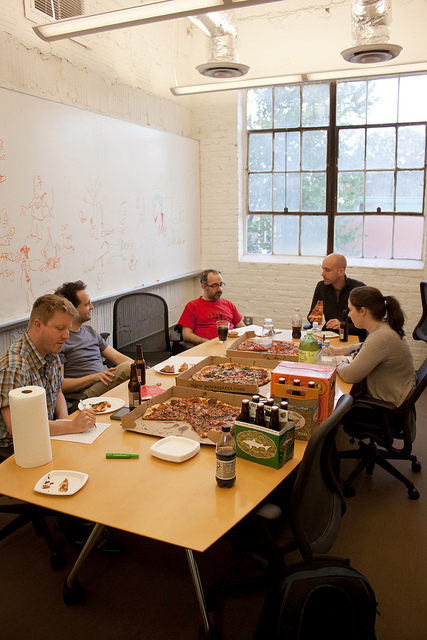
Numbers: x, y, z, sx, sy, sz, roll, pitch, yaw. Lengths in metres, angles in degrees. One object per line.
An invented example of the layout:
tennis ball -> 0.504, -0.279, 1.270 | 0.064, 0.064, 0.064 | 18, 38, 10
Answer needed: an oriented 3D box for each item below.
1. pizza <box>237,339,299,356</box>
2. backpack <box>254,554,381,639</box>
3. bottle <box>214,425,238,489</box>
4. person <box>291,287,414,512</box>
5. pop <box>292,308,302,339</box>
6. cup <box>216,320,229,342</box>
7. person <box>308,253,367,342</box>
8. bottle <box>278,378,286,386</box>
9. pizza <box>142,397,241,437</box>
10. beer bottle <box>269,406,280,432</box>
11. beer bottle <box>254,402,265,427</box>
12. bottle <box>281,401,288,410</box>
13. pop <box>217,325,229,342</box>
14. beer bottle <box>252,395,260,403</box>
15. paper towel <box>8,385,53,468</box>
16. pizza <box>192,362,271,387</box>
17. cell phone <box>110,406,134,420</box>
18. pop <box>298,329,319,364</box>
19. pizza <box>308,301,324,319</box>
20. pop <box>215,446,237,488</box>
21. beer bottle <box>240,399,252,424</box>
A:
pizza -> 0.342, 0.176, 2.705 | 0.373, 0.046, 0.507 | -1, 10, 6
backpack -> 0.233, 0.651, 1.031 | 0.186, 0.253, 0.266 | 8, -25, 3
bottle -> 0.039, 0.393, 1.227 | 0.061, 0.166, 0.061 | -1, 2, 0
person -> 0.908, 0.392, 2.491 | 0.651, 1.093, 0.728 | -5, 9, -22
pop -> 0.597, 0.027, 3.092 | 0.057, 0.196, 0.247 | 0, 10, 10
cup -> 0.072, 0.091, 3.076 | 0.123, 0.190, 0.125 | 0, 0, 0
person -> 1.098, -0.176, 3.840 | 0.571, 0.776, 0.476 | 6, 16, 37
bottle -> 0.242, 0.224, 1.518 | 0.023, 0.025, 0.023 | -2, 6, -2
pizza -> -0.062, 0.375, 1.720 | 0.403, 0.029, 0.288 | 6, 12, 36
beer bottle -> 0.184, 0.300, 1.299 | 0.030, 0.075, 0.045 | 0, 10, 8
beer bottle -> 0.144, 0.298, 1.334 | 0.031, 0.084, 0.035 | -1, 10, 5
bottle -> 0.221, 0.273, 1.349 | 0.027, 0.026, 0.030 | 0, 7, 5
pop -> 0.071, 0.105, 3.005 | 0.098, 0.131, 0.093 | 0, -1, 3
beer bottle -> 0.134, 0.252, 1.336 | 0.020, 0.027, 0.034 | -1, 10, 6
paper towel -> -0.554, 0.346, 1.335 | 0.103, 0.245, 0.083 | -7, 11, -26
pizza -> 0.108, 0.280, 2.188 | 0.368, 0.048, 0.405 | 1, 10, 16
cell phone -> -0.373, 0.390, 1.785 | 0.059, 0.015, 0.064 | 6, 18, 18
pop -> 0.480, 0.158, 2.191 | 0.096, 0.156, 0.236 | 0, 10, 10
pizza -> 0.819, -0.061, 3.438 | 0.097, 0.151, 0.227 | 0, 10, 7
pop -> 0.038, 0.417, 1.236 | 0.056, 0.110, 0.105 | -2, 10, 1
beer bottle -> 0.106, 0.300, 1.389 | 0.038, 0.085, 0.084 | -1, 10, 3
